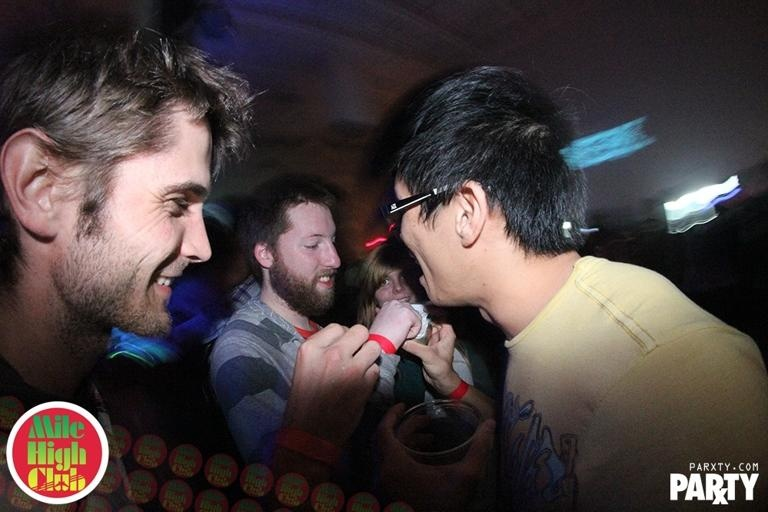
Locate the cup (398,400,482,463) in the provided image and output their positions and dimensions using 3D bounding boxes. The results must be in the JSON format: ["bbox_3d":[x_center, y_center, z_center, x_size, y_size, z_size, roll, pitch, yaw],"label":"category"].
[{"bbox_3d":[0.260,0.832,2.589,0.367,0.156,0.369,-12,26,6],"label":"cup"}]
